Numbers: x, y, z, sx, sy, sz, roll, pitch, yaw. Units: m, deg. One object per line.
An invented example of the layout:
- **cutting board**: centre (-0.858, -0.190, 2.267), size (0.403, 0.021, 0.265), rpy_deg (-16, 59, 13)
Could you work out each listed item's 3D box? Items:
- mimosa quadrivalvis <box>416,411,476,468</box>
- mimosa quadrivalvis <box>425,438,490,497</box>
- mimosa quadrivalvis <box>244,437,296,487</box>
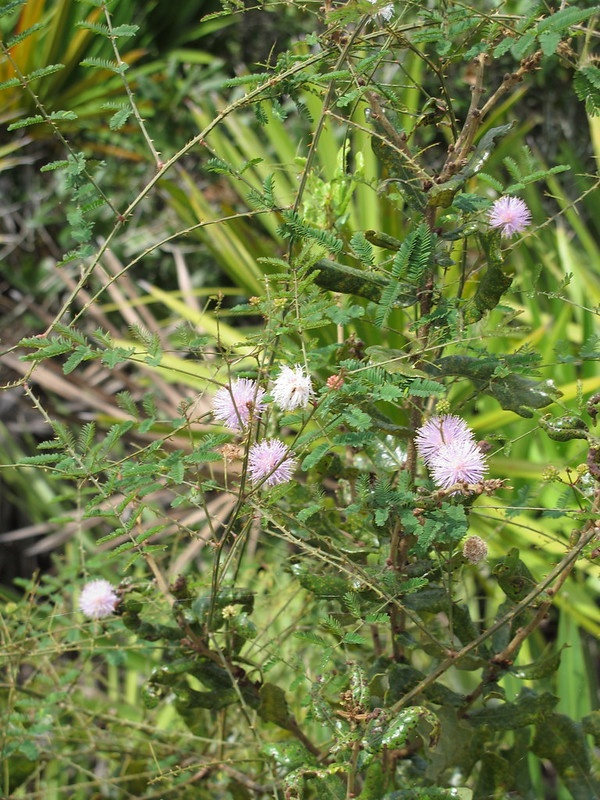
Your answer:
- **mimosa quadrivalvis**: centre (0.177, 0.038, 1.246), size (0.059, 0.052, 0.045), rpy_deg (-27, 59, 11)
- **mimosa quadrivalvis**: centre (0.175, 0.075, 1.194), size (0.068, 0.043, 0.054), rpy_deg (3, 64, 22)
- **mimosa quadrivalvis**: centre (-0.040, 0.072, 1.261), size (0.068, 0.062, 0.052), rpy_deg (-14, 86, 15)
